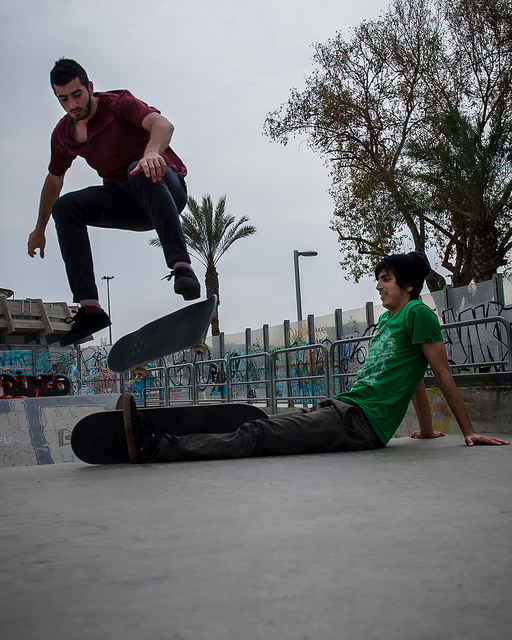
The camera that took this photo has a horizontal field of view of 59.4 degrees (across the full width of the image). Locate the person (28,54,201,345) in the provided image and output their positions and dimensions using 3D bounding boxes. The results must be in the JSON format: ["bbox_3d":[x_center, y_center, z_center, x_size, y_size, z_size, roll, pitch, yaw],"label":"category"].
[{"bbox_3d":[-1.114,-0.828,3.269,1.341,1.849,0.957,-19,-15,17],"label":"person"}]

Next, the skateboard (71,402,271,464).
[{"bbox_3d":[-0.587,0.742,2.979,1.185,0.346,0.332,4,-10,-31],"label":"skateboard"}]

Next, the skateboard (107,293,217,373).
[{"bbox_3d":[-0.686,0.115,3.215,1.008,0.478,0.279,-10,-11,41],"label":"skateboard"}]

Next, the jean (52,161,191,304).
[{"bbox_3d":[-0.906,-0.637,3.185,0.961,0.986,0.593,-5,-9,26],"label":"jean"}]
